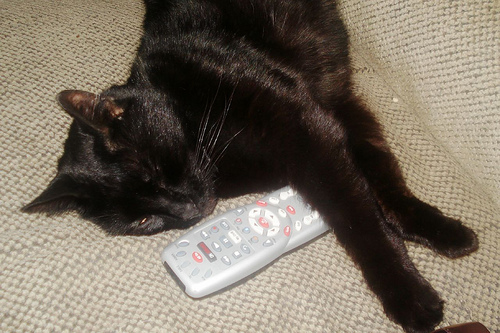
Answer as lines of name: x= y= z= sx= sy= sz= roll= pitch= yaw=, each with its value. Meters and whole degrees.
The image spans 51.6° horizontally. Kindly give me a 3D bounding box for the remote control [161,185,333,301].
remote control: x=0.000 y=0.165 z=1.206 sx=0.425 sy=0.076 sz=0.176 roll=-24 pitch=58 yaw=-27
